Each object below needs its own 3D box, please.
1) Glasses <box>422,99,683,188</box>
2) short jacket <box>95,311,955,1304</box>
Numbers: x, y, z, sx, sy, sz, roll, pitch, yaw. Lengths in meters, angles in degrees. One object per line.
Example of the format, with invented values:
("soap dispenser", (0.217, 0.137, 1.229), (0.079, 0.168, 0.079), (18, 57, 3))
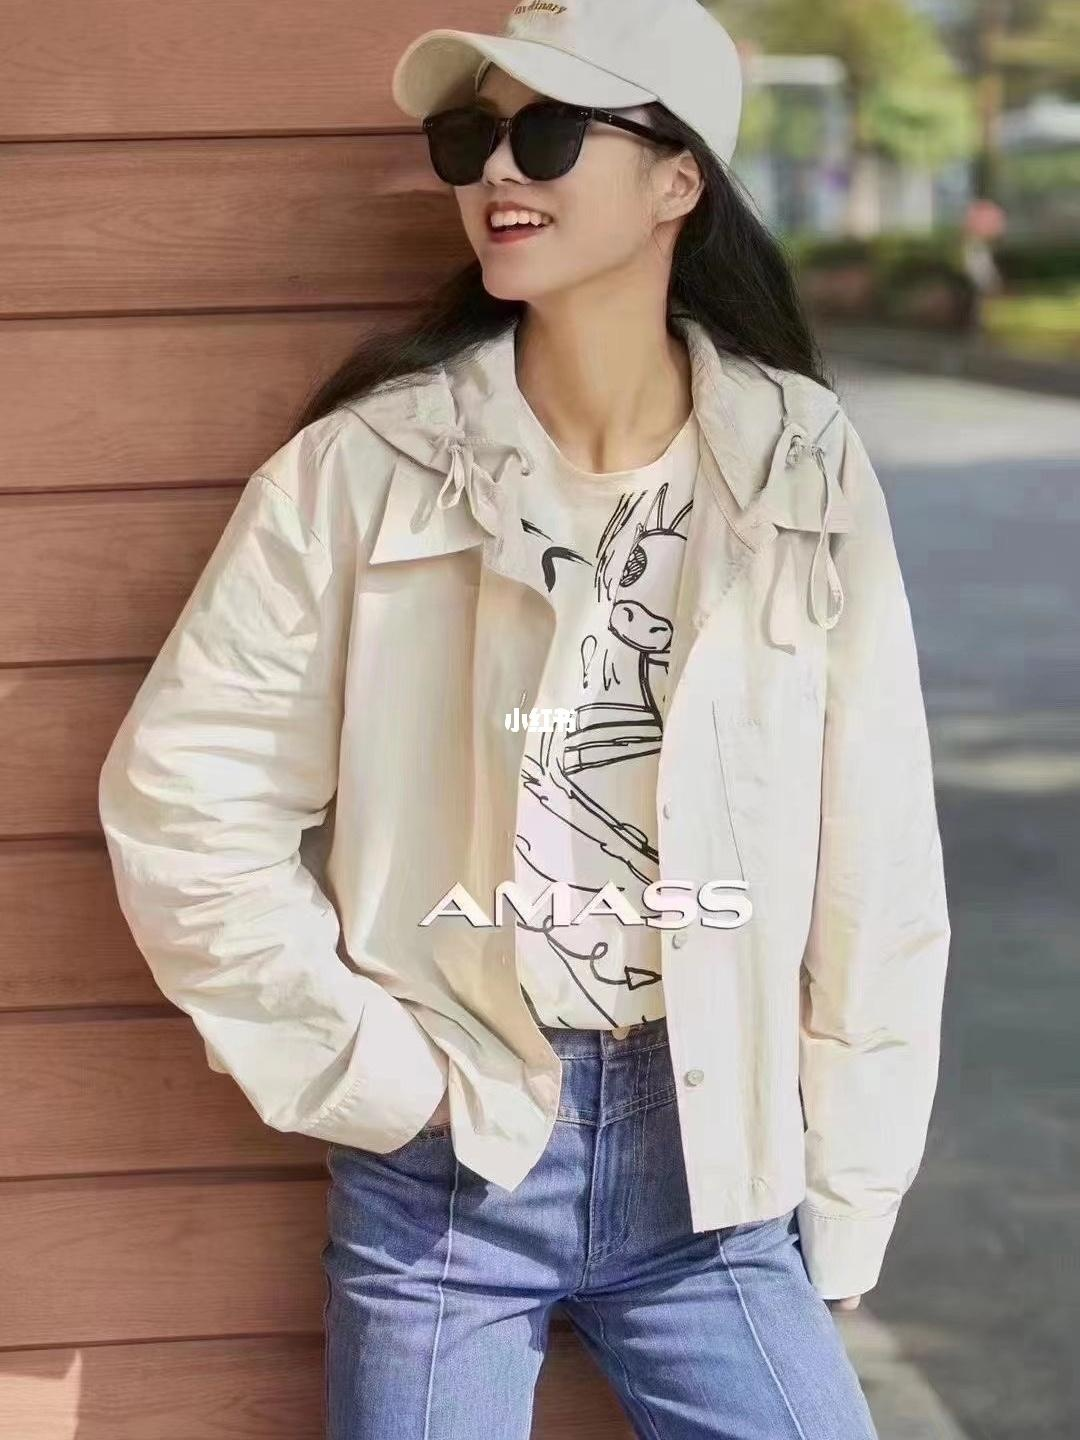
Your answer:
("Glasses", (0.013, -0.480, 1.370), (0.213, 0.065, 0.083), (-3, 21, -1))
("short jacket", (-0.009, 0.092, 1.469), (0.721, 0.829, 0.439), (-3, 24, 2))
